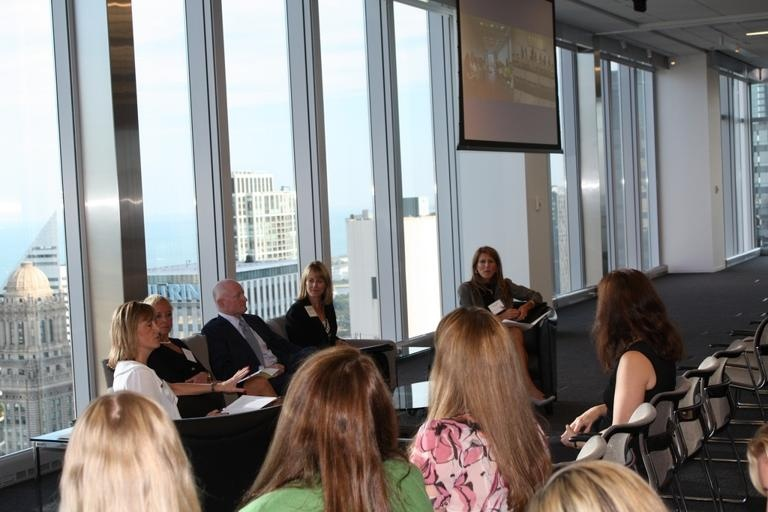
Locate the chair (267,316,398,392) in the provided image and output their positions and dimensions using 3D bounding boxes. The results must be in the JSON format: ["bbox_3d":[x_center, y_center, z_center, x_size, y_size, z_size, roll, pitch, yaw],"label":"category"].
[{"bbox_3d":[-0.394,1.009,7.517,0.888,0.840,0.883,-5,-12,25],"label":"chair"}]

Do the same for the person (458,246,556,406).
[{"bbox_3d":[1.373,0.738,7.998,0.866,1.587,1.249,-8,7,-20],"label":"person"}]

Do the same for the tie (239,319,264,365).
[{"bbox_3d":[-1.241,0.809,7.103,0.110,0.397,0.277,-27,-1,5],"label":"tie"}]

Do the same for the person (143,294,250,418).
[{"bbox_3d":[-1.606,1.086,6.409,0.851,1.458,0.509,-2,8,44],"label":"person"}]

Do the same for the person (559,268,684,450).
[{"bbox_3d":[1.628,0.697,5.123,0.763,0.990,0.561,-5,1,23],"label":"person"}]

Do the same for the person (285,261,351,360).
[{"bbox_3d":[-0.650,0.588,7.614,0.592,1.028,0.752,-6,2,-21],"label":"person"}]
